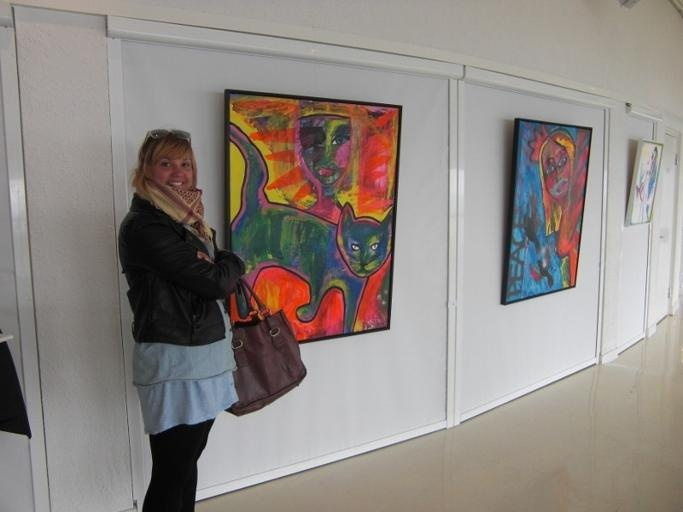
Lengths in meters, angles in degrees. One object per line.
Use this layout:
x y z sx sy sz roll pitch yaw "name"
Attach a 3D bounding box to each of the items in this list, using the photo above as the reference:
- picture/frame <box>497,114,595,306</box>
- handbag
1.584 -0.387 4.465 1.280 1.652 0.107 -11 15 -41 "picture/frame"
-0.439 0.560 3.079 0.475 0.571 0.233 -23 8 -13 "handbag"
